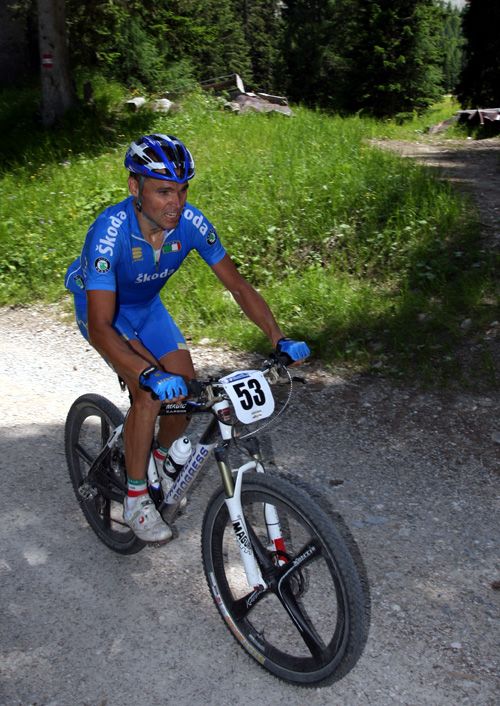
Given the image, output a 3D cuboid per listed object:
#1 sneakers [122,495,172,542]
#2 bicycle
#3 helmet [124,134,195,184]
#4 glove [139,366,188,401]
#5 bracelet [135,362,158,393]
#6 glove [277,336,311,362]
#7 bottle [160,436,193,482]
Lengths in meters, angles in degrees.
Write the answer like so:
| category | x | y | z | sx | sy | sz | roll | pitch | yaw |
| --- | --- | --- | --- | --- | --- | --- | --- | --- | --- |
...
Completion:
| category | x | y | z | sx | sy | sz | roll | pitch | yaw |
| --- | --- | --- | --- | --- | --- | --- | --- | --- | --- |
| sneakers | -0.473 | 0.727 | 2.922 | 0.125 | 0.136 | 0.314 | -12 | 20 | -38 |
| bicycle | 0.022 | 0.527 | 2.956 | 0.776 | 1.039 | 1.877 | -9 | 16 | -40 |
| helmet | -0.412 | -0.853 | 2.724 | 0.209 | 0.118 | 0.291 | -16 | 34 | -33 |
| glove | -0.311 | 0.113 | 2.273 | 0.123 | 0.104 | 0.213 | -12 | 27 | -28 |
| bracelet | -0.357 | 0.092 | 2.264 | 0.090 | 0.039 | 0.091 | 35 | 35 | 2 |
| glove | 0.174 | -0.014 | 2.659 | 0.082 | 0.058 | 0.143 | -10 | 20 | -28 |
| bottle | -0.330 | 0.474 | 2.836 | 0.096 | 0.232 | 0.094 | 26 | 30 | -16 |
